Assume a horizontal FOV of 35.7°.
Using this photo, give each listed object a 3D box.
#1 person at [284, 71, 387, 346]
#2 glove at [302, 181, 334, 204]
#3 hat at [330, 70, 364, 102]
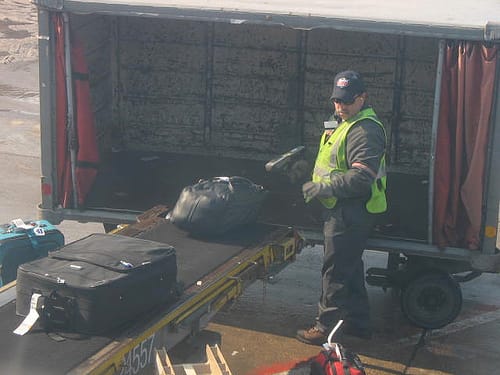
[{"bbox_3d":[0.948,0.164,7.669,0.987,2.517,0.900,0,3,-18],"label":"person"},{"bbox_3d":[0.662,0.030,7.547,0.284,0.192,0.345,3,3,5],"label":"glove"},{"bbox_3d":[0.946,-1.001,7.624,0.241,0.211,0.365,13,27,30],"label":"hat"}]
